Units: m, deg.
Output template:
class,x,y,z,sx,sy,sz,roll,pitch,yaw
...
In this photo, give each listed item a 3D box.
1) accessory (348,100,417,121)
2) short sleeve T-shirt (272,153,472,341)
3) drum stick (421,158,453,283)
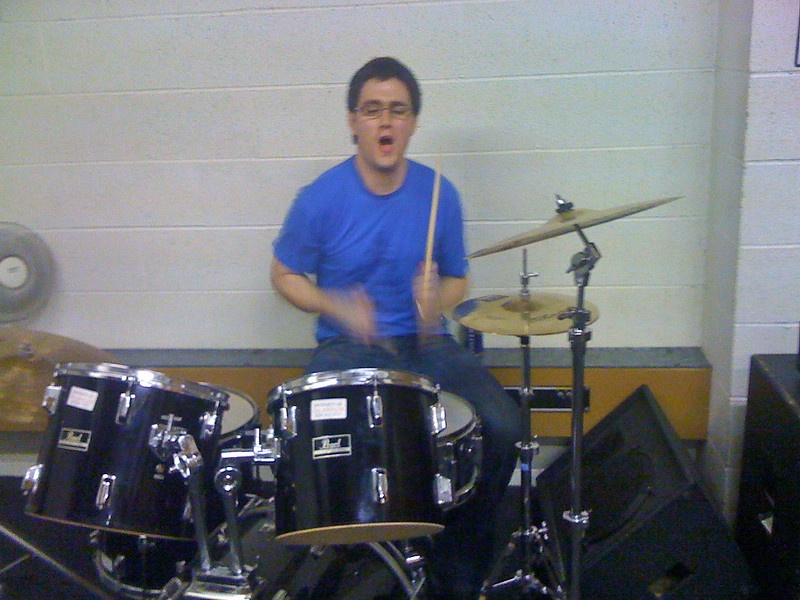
class,x,y,z,sx,sy,sz,roll,pitch,yaw
accessory,-0.052,-0.659,3.057,0.226,0.053,0.039,0,-1,4
short sleeve T-shirt,-0.079,-0.208,3.186,0.849,0.564,0.312,1,7,-1
drum stick,0.114,-0.266,3.138,0.067,0.403,0.021,17,6,-4
